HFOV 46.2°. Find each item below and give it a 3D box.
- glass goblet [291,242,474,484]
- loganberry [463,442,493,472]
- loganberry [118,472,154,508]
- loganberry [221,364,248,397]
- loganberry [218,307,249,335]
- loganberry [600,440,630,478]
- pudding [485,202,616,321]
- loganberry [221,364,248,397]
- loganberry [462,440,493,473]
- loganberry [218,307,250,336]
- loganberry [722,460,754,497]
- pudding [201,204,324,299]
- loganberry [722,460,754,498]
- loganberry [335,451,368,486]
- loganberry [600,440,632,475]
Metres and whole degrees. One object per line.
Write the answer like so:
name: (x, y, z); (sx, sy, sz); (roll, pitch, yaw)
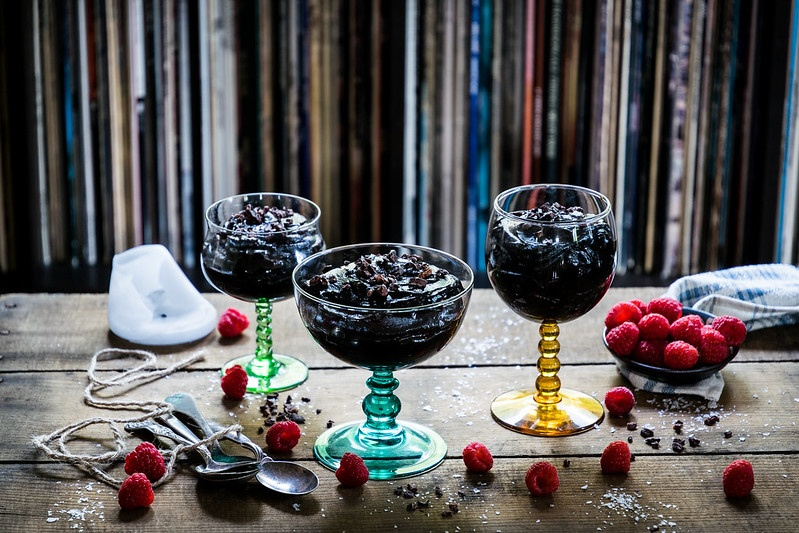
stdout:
glass goblet: (-0.085, 0.222, 2.236); (0.453, 0.535, 0.462); (0, 18, -2)
loganberry: (0.168, 0.423, 2.071); (0.034, 0.063, 0.051); (-11, 41, 44)
loganberry: (-0.552, 0.470, 1.955); (0.073, 0.060, 0.048); (-9, 24, -18)
loganberry: (-0.400, 0.283, 2.280); (0.069, 0.076, 0.057); (5, -4, -18)
loganberry: (-0.436, 0.143, 2.498); (0.060, 0.054, 0.073); (2, 22, 39)
loganberry: (0.477, 0.416, 2.040); (0.076, 0.059, 0.051); (-2, 23, -4)
pudding: (0.342, -0.006, 2.099); (0.225, 0.215, 0.257); (-1, 17, 1)
loganberry: (-0.390, 0.272, 2.234); (0.054, 0.075, 0.033); (-2, 58, -26)
loganberry: (0.166, 0.420, 2.070); (0.051, 0.064, 0.035); (-50, 16, -23)
loganberry: (-0.438, 0.143, 2.480); (0.060, 0.054, 0.077); (-5, 10, 42)
loganberry: (0.718, 0.457, 1.984); (0.075, 0.070, 0.059); (-14, 1, 44)
pudding: (-0.341, -0.060, 2.319); (0.254, 0.188, 0.247); (-5, 13, -31)
loganberry: (0.711, 0.450, 1.964); (0.057, 0.072, 0.074); (7, 21, 30)
loganberry: (-0.100, 0.437, 1.990); (0.055, 0.058, 0.073); (-28, 65, -4)
loganberry: (0.470, 0.417, 2.027); (0.051, 0.044, 0.071); (11, 38, 22)
